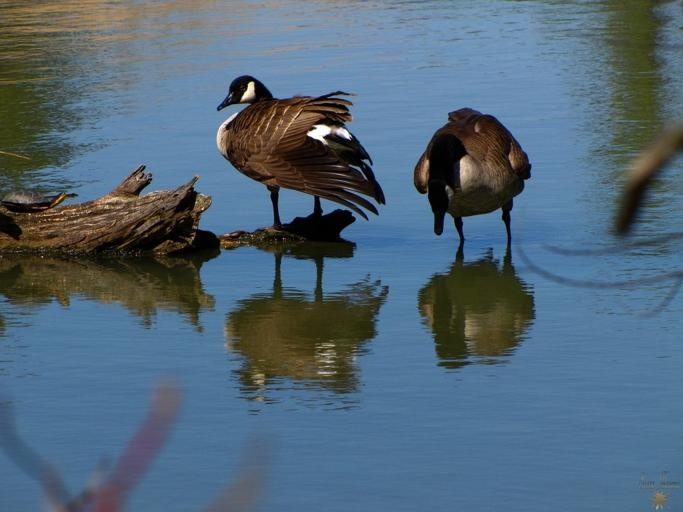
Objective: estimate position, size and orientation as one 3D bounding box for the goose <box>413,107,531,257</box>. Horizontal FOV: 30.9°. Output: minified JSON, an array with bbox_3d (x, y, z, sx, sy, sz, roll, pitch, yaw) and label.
[{"bbox_3d":[1.817,-1.334,17.606,2.362,2.192,2.022,6,23,2],"label":"goose"}]
